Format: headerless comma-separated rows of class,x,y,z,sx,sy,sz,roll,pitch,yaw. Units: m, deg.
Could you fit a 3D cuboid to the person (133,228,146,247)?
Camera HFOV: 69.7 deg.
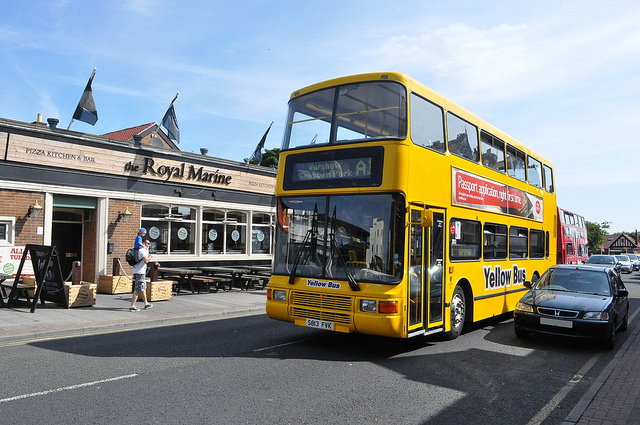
person,-7.119,0.975,17.894,0.316,0.846,0.489,10,29,-36
